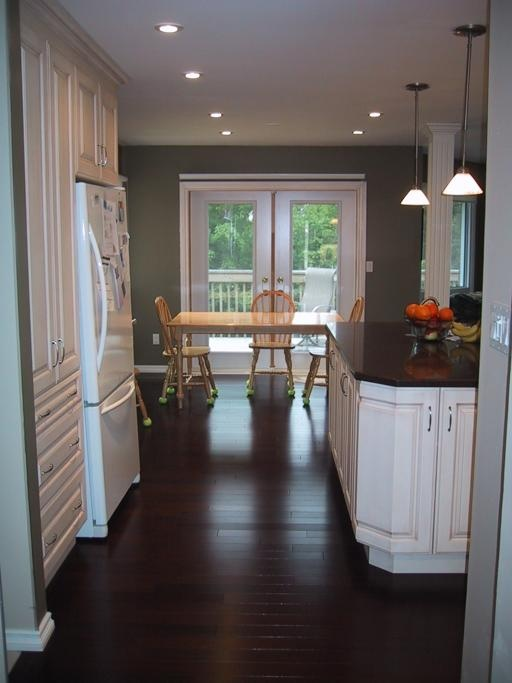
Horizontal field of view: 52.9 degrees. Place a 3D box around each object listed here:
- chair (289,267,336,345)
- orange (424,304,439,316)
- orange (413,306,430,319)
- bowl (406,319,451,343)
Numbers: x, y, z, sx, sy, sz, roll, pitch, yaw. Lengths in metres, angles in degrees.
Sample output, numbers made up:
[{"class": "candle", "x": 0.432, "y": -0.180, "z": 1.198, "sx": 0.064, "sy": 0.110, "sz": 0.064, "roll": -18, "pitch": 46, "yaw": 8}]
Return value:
[{"class": "chair", "x": 0.737, "y": -0.591, "z": 6.171, "sx": 0.463, "sy": 0.899, "sz": 0.573, "roll": 2, "pitch": 9, "yaw": 23}, {"class": "orange", "x": 0.945, "y": -0.180, "z": 2.804, "sx": 0.065, "sy": 0.084, "sz": 0.064, "roll": -18, "pitch": 20, "yaw": -38}, {"class": "orange", "x": 0.901, "y": -0.160, "z": 2.784, "sx": 0.088, "sy": 0.079, "sz": 0.059, "roll": 3, "pitch": 6, "yaw": 38}, {"class": "bowl", "x": 0.960, "y": -0.060, "z": 2.861, "sx": 0.231, "sy": 0.123, "sz": 0.200, "roll": 3, "pitch": 6, "yaw": 30}]
